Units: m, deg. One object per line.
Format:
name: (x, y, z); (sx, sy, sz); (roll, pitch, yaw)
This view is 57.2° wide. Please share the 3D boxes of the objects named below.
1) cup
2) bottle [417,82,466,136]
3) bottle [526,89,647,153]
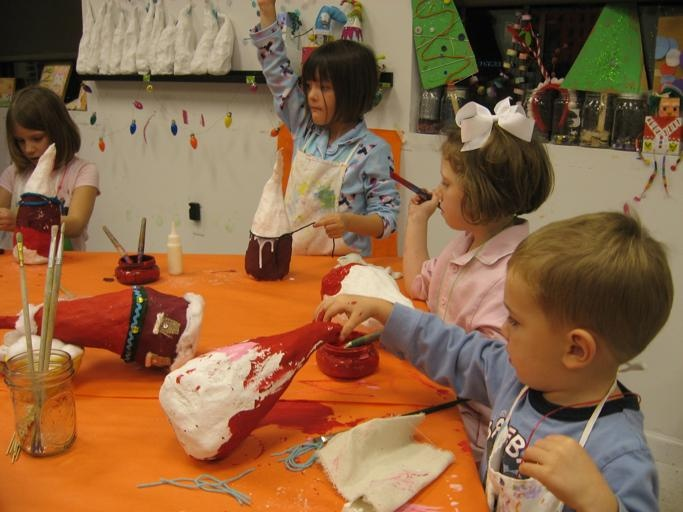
cup: (-0.611, 0.316, 1.278); (0.126, 0.179, 0.081); (-4, 12, -31)
bottle: (0.456, -0.750, 3.085); (0.163, 0.319, 0.297); (-16, 29, -31)
bottle: (1.081, -0.605, 2.741); (0.482, 0.314, 0.350); (11, 12, 24)
